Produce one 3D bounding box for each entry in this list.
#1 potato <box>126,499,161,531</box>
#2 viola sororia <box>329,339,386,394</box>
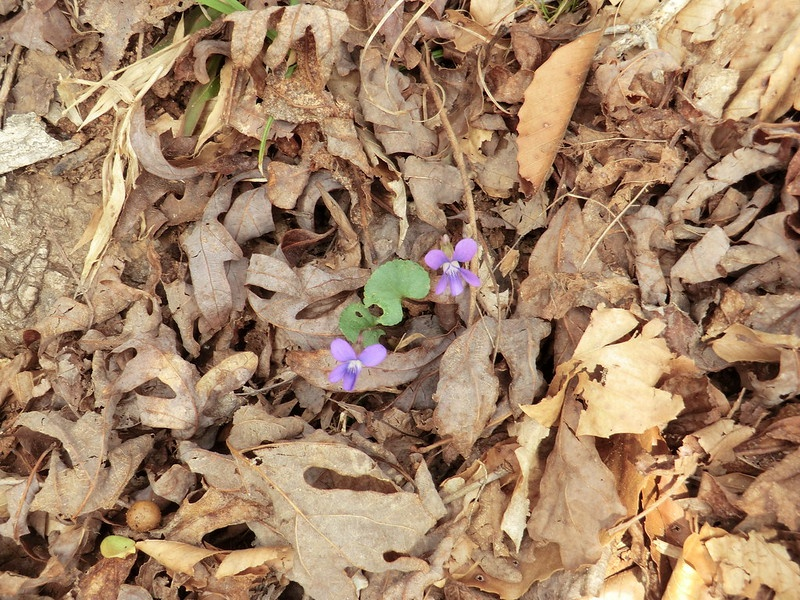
[{"bbox_3d":[-1.000,0.846,2.986,0.111,0.127,0.066,12,10,0],"label":"potato"},{"bbox_3d":[-0.157,0.249,2.884,0.202,0.154,0.171,-3,48,2],"label":"viola sororia"}]
